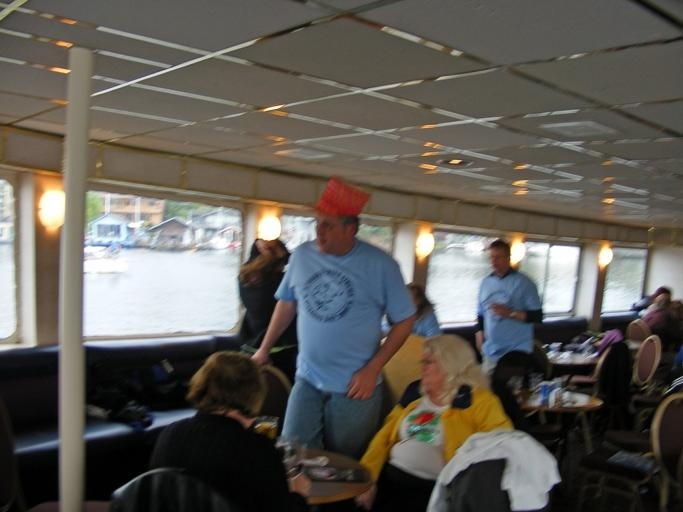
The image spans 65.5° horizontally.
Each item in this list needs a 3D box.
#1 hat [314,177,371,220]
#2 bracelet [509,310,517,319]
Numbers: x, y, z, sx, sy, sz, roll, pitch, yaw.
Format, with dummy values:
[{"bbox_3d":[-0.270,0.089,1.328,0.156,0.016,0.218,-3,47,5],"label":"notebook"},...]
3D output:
[{"bbox_3d":[-0.021,-0.321,2.851,0.286,0.189,0.219,23,16,-27],"label":"hat"},{"bbox_3d":[1.833,0.622,5.652,0.097,0.072,0.021,-15,5,-18],"label":"bracelet"}]
